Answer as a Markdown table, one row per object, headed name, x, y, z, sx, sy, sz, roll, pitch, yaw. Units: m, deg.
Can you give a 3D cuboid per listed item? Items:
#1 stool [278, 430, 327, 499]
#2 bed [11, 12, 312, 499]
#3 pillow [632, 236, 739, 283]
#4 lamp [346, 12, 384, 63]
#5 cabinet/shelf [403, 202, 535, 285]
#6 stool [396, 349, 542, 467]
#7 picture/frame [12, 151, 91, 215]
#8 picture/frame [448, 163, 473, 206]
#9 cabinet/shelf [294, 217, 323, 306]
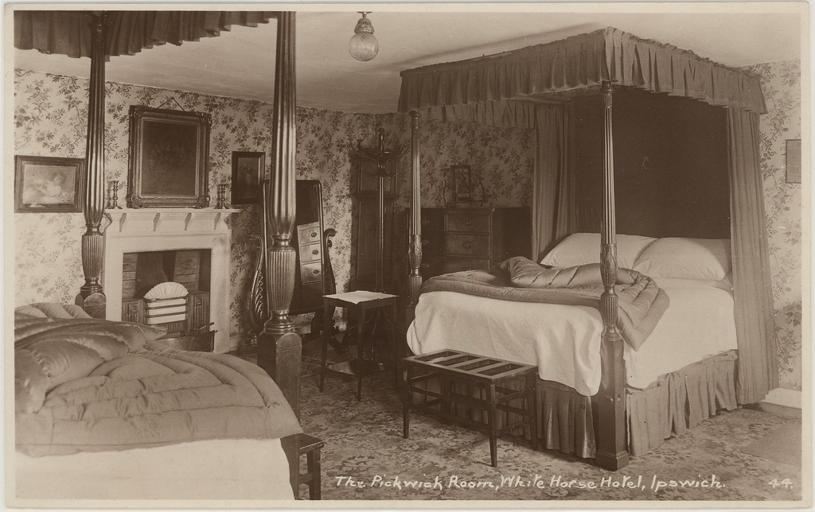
| name | x | y | z | sx | sy | sz | roll | pitch | yaw |
| --- | --- | --- | --- | --- | --- | --- | --- | --- | --- |
| stool | -0.809 | 1.653 | 5.210 | 0.297 | 0.510 | 0.876 | 2 | 0 | -6 |
| bed | -2.063 | -0.254 | 5.495 | 1.705 | 3.398 | 2.901 | 2 | 0 | -41 |
| pillow | 3.052 | 0.032 | 7.205 | 0.607 | 0.179 | 0.638 | -14 | 16 | -4 |
| lamp | -0.379 | -2.010 | 6.037 | 0.240 | 0.417 | 0.393 | 2 | 0 | -3 |
| cabinet/shelf | 0.657 | -0.145 | 9.038 | 1.232 | 1.064 | 0.723 | 3 | 9 | 23 |
| stool | 0.552 | 1.417 | 6.407 | 1.347 | 1.032 | 0.779 | 2 | 0 | 32 |
| picture/frame | -4.024 | -0.816 | 7.461 | 1.010 | 0.908 | 0.068 | 0 | 0 | -34 |
| picture/frame | 0.860 | -1.028 | 9.460 | 0.377 | 0.576 | 0.391 | -1 | 3 | 28 |
| cabinet/shelf | -1.237 | 0.106 | 9.424 | 0.540 | 1.145 | 0.507 | -4 | -7 | -5 |
